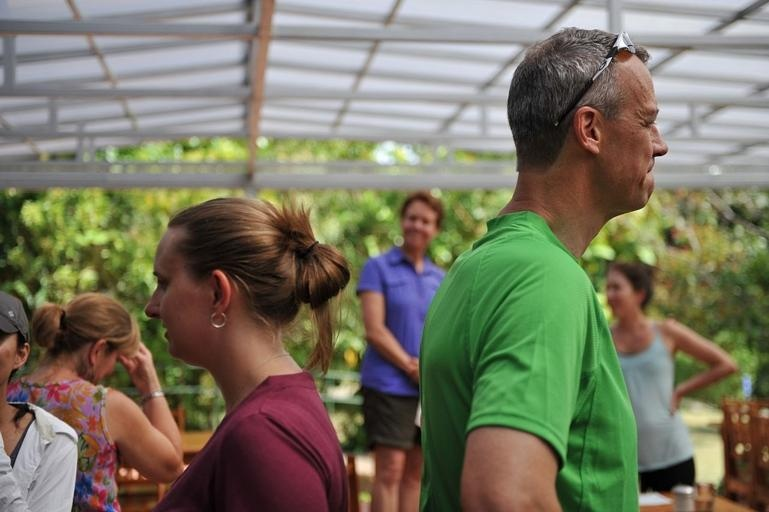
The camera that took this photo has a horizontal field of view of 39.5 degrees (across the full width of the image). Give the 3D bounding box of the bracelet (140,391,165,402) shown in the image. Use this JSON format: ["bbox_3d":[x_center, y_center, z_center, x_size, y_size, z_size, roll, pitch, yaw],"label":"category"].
[{"bbox_3d":[-1.712,1.034,7.943,0.106,0.033,0.103,-16,2,-33],"label":"bracelet"}]
